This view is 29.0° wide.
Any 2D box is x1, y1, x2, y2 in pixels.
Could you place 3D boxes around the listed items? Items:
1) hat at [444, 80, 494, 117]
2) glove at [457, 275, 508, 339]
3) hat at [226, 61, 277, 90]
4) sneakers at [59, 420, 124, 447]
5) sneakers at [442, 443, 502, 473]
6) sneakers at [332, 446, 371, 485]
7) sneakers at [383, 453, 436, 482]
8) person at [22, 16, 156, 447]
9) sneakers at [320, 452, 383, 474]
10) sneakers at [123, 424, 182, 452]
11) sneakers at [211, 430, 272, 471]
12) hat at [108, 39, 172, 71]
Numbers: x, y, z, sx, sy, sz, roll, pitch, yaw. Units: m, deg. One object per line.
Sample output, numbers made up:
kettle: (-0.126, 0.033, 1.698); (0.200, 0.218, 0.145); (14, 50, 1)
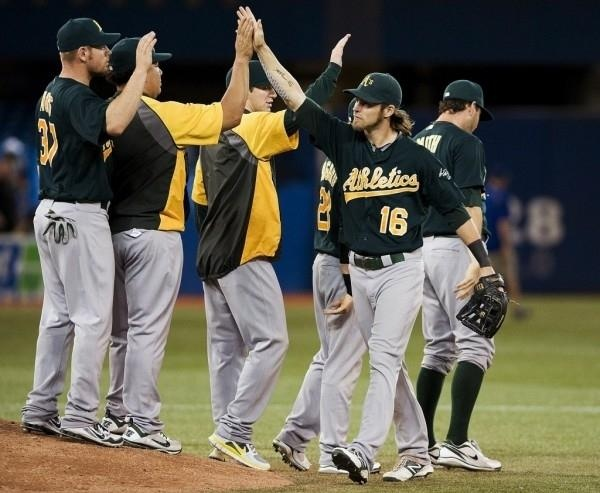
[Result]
hat: (1.441, -1.279, 9.895); (0.417, 0.243, 0.318); (12, -4, -19)
glove: (1.454, 0.495, 9.102); (0.350, 0.493, 0.192); (29, 24, 6)
hat: (-0.409, -1.369, 9.325); (0.301, 0.165, 0.216); (-4, 7, -17)
sneakers: (-1.580, 1.404, 8.886); (0.506, 0.255, 0.183); (9, -2, -17)
sneakers: (1.326, 1.660, 9.335); (0.558, 0.274, 0.196); (6, -9, 5)
sneakers: (0.408, 1.620, 8.673); (0.395, 0.289, 0.148); (2, 5, -41)
sneakers: (0.839, 1.683, 8.939); (0.409, 0.194, 0.151); (-1, -5, -28)
person: (-1.683, -0.136, 8.904); (0.941, 3.213, 0.444); (7, 4, 29)
sneakers: (0.375, 1.671, 9.175); (0.515, 0.232, 0.172); (-1, -3, -9)
sneakers: (-1.179, 1.481, 9.094); (0.486, 0.219, 0.192); (12, -9, -16)
sneakers: (-0.510, 1.569, 9.141); (0.558, 0.233, 0.216); (24, -3, -7)
hat: (-1.287, -1.543, 9.227); (0.530, 0.273, 0.344); (-14, 6, -4)
